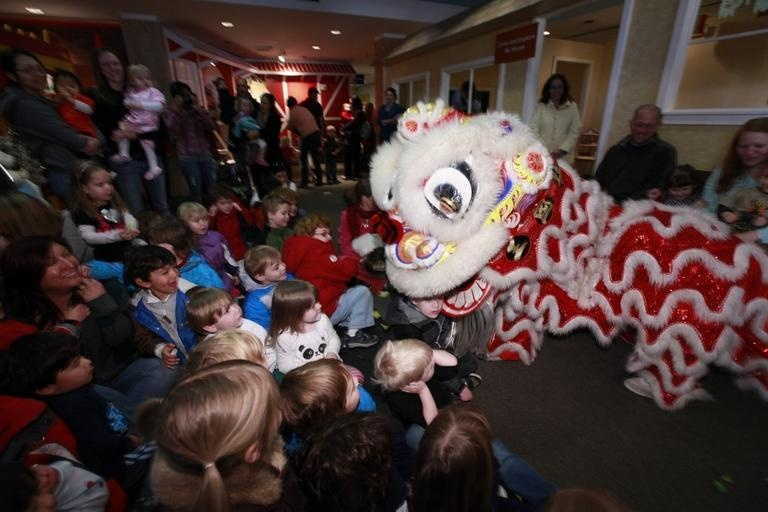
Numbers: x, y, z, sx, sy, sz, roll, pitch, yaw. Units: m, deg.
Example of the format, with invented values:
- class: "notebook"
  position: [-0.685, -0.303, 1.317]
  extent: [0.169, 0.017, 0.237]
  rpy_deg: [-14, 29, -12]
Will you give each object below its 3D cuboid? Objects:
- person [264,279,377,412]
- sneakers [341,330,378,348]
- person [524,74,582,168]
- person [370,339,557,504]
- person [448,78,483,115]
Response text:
- class: "person"
  position: [-0.425, 0.560, 3.151]
  extent: [0.671, 0.706, 0.454]
  rpy_deg: [11, 15, 23]
- class: "sneakers"
  position: [-0.182, 0.620, 3.632]
  extent: [0.283, 0.127, 0.112]
  rpy_deg: [-1, 15, -1]
- class: "person"
  position: [1.847, -1.169, 5.129]
  extent: [0.562, 1.396, 0.506]
  rpy_deg: [8, 40, 27]
- class: "person"
  position: [0.503, 0.771, 2.864]
  extent: [1.185, 0.688, 0.586]
  rpy_deg: [25, 28, 22]
- class: "person"
  position: [1.094, -2.065, 6.218]
  extent: [0.435, 0.402, 1.576]
  rpy_deg: [3, 18, 7]
